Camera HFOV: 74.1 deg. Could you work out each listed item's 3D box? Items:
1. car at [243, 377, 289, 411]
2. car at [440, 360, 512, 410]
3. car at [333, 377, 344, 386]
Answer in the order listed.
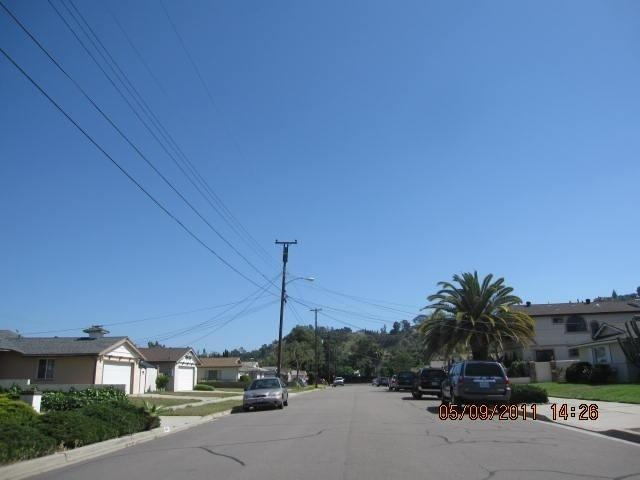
[{"bbox_3d":[-2.863,8.140,22.533,2.173,1.690,2.524,3,-18,-6],"label":"car"},{"bbox_3d":[6.535,6.094,18.207,1.541,1.532,3.330,0,-13,7],"label":"car"},{"bbox_3d":[3.375,25.684,76.831,1.196,1.033,2.717,0,-6,3],"label":"car"}]
